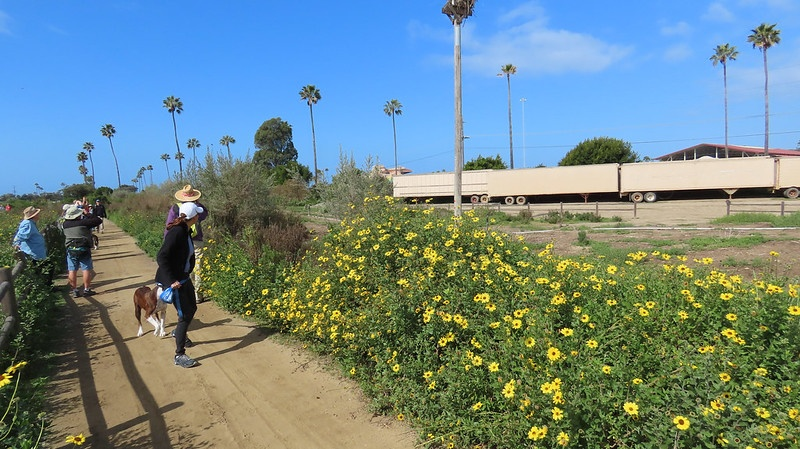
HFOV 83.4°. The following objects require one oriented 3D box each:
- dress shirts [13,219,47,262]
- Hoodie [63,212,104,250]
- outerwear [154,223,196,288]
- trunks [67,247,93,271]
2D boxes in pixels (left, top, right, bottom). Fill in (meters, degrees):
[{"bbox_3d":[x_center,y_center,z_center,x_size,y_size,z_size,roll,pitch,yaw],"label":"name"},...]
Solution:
[{"bbox_3d":[-9.522,0.443,11.516,0.366,0.614,1.191,-3,3,-11],"label":"dress shirts"},{"bbox_3d":[-8.507,0.180,11.981,0.735,0.913,1.177,-10,8,-35],"label":"Hoodie"},{"bbox_3d":[-4.362,0.563,8.694,0.667,1.235,0.487,-9,8,-27],"label":"outerwear"},{"bbox_3d":[-8.328,0.868,11.632,0.650,0.595,0.397,-1,16,-23],"label":"trunks"}]
